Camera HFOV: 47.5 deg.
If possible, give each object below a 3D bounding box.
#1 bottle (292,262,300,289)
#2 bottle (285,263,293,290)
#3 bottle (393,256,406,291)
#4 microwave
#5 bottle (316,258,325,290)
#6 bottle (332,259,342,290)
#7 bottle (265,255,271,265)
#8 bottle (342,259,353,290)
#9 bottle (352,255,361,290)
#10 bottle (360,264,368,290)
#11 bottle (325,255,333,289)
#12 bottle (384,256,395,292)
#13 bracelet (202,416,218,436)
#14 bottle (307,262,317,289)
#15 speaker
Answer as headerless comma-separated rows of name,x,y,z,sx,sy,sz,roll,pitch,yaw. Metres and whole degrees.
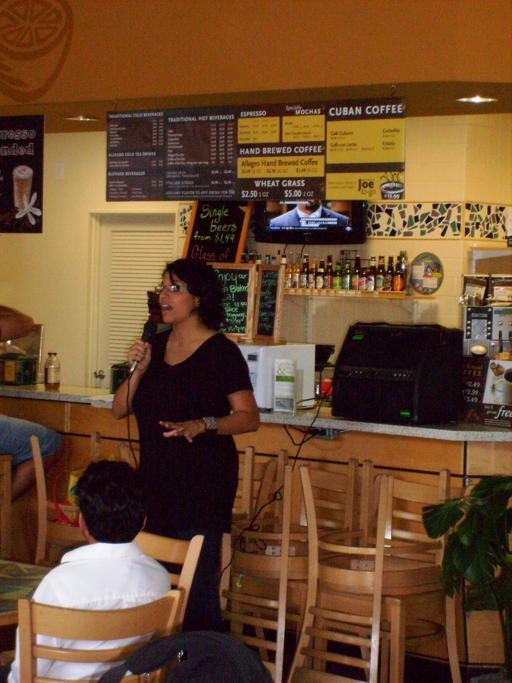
bottle,0.363,-0.604,5.326,0.070,0.206,0.076,2,3,0
bottle,0.294,-0.590,5.299,0.063,0.222,0.190,2,3,2
bottle,1.268,-0.605,5.157,0.115,0.329,0.291,2,3,14
microwave,0.125,0.165,3.193,0.437,0.325,0.417,-7,4,-42
bottle,0.576,-0.605,5.295,0.085,0.269,0.272,2,3,5
bottle,0.735,-0.603,5.274,0.091,0.254,0.222,2,3,7
bottle,0.103,-0.771,5.436,0.056,0.078,0.117,2,3,-2
bottle,0.822,-0.604,5.258,0.083,0.257,0.174,2,3,8
bottle,0.902,-0.619,5.255,0.073,0.303,0.277,2,3,8
bottle,0.959,-0.571,5.219,0.081,0.238,0.316,2,3,10
bottle,0.650,-0.628,5.276,0.084,0.304,0.217,2,3,7
bottle,1.175,-0.607,5.171,0.090,0.332,0.322,2,3,12
bracelet,-0.144,0.251,1.737,0.056,0.045,0.030,-1,4,-44
bottle,0.502,-0.603,5.296,0.078,0.249,0.225,2,3,3
speaker,0.697,0.145,2.844,0.475,0.439,0.455,0,5,43
